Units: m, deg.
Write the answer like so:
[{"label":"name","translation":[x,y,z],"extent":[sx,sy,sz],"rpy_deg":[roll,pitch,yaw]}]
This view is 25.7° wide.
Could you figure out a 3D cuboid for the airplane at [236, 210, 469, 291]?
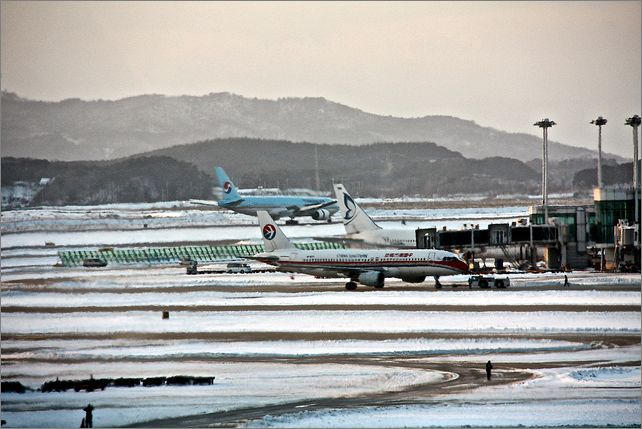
[{"label":"airplane","translation":[5.560,5.489,218.168],"extent":[30.399,12.133,3.414],"rpy_deg":[-1,2,9]}]

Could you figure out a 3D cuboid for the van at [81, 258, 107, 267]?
[{"label":"van","translation":[-38.467,8.023,238.222],"extent":[3.173,0.802,1.692],"rpy_deg":[-1,5,-4]}]
